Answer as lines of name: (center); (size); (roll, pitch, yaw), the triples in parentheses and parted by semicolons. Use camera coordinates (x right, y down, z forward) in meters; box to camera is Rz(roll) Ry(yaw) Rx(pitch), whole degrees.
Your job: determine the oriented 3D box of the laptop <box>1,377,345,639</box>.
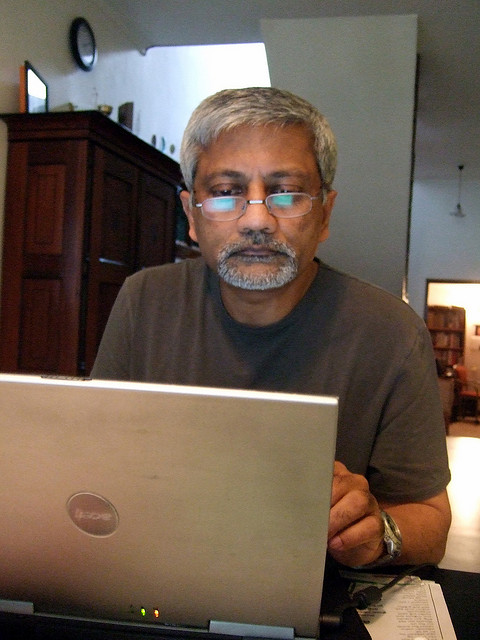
laptop: (-0.067, 0.139, 0.765); (0.468, 0.252, 0.295); (3, 5, 7)
